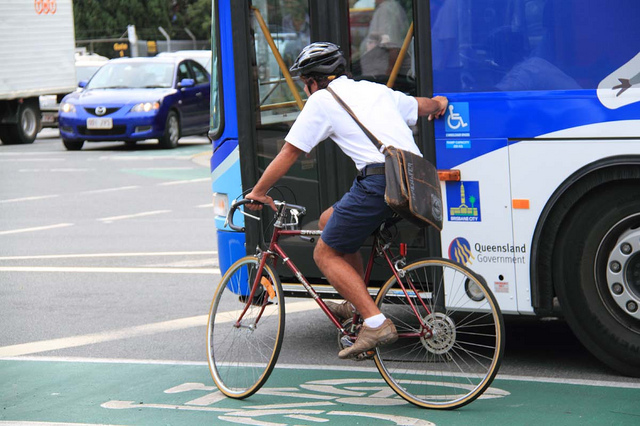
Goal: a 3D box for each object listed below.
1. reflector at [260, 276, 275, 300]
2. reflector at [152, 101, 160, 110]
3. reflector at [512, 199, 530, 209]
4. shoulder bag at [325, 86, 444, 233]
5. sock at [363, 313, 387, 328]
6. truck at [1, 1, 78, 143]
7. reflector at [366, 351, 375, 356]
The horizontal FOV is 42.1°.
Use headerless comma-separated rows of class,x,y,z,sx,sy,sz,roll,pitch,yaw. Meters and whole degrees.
reflector,-0.439,0.622,6.987,0.042,0.153,0.149,-11,14,-34
reflector,-4.284,-2.800,21.588,0.201,0.212,0.049,-2,4,-9
reflector,1.698,-0.073,7.032,0.140,0.082,0.010,2,12,20
shoulder bag,0.634,-0.459,6.803,0.562,1.392,0.536,21,-37,-37
sock,0.431,0.851,6.529,0.101,0.098,0.124,-24,-12,-49
truck,-8.616,-4.245,24.690,0.871,3.930,3.203,2,12,21
reflector,0.404,1.127,6.675,0.074,0.044,0.044,-3,-2,24
